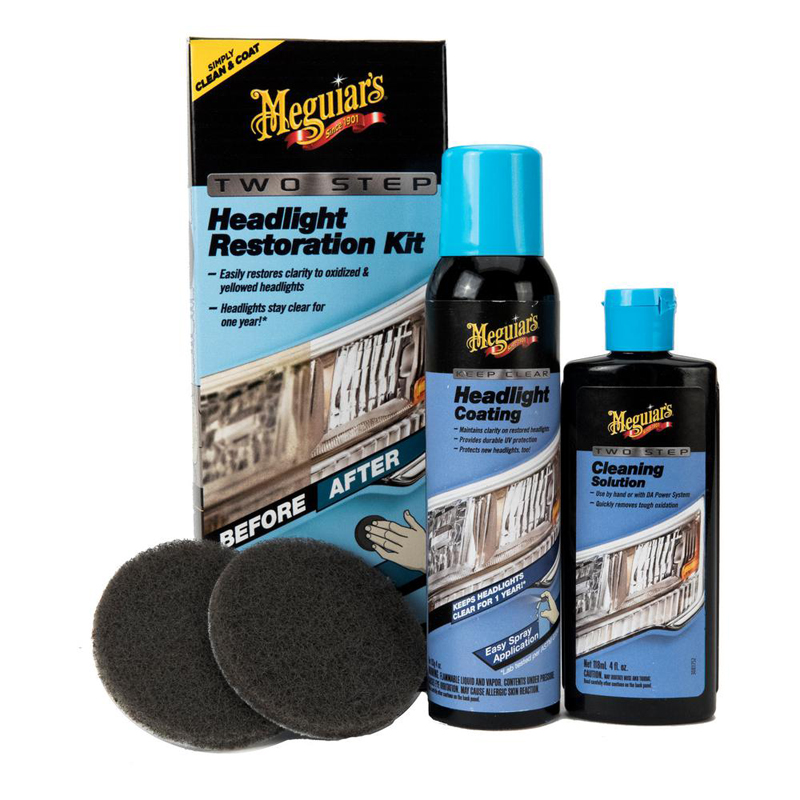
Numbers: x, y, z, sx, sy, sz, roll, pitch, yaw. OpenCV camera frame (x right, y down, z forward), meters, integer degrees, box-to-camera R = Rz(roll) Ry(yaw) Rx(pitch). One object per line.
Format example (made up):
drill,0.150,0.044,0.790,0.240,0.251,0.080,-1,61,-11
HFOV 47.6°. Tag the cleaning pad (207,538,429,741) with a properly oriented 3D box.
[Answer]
cleaning pad,-0.119,0.370,1.422,0.336,0.255,0.204,-6,12,-16
